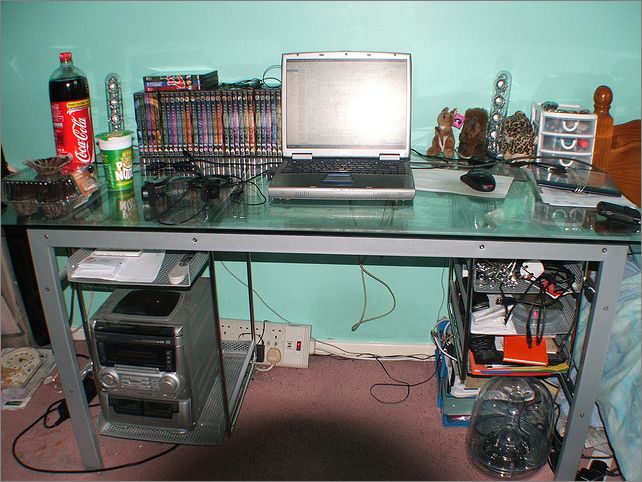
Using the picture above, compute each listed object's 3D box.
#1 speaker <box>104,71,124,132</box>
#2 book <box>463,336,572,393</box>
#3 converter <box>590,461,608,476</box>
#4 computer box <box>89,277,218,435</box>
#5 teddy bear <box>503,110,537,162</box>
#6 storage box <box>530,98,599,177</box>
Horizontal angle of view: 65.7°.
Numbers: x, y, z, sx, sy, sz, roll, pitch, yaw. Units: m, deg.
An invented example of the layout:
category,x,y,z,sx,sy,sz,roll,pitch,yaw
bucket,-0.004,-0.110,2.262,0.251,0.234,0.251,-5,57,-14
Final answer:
category,x,y,z,sx,sy,sz,roll,pitch,yaw
speaker,-0.851,-0.565,2.025,0.078,0.223,0.102,-6,19,-10
book,0.694,0.431,1.766,0.200,0.051,0.197,0,20,8
converter,1.007,0.814,1.783,0.036,0.010,0.041,-5,32,16
computer box,-0.627,0.438,1.962,0.348,0.454,0.485,2,19,6
teddy bear,0.766,-0.400,1.906,0.124,0.181,0.062,7,9,14
storage box,0.890,-0.404,1.941,0.242,0.351,0.254,0,19,10
